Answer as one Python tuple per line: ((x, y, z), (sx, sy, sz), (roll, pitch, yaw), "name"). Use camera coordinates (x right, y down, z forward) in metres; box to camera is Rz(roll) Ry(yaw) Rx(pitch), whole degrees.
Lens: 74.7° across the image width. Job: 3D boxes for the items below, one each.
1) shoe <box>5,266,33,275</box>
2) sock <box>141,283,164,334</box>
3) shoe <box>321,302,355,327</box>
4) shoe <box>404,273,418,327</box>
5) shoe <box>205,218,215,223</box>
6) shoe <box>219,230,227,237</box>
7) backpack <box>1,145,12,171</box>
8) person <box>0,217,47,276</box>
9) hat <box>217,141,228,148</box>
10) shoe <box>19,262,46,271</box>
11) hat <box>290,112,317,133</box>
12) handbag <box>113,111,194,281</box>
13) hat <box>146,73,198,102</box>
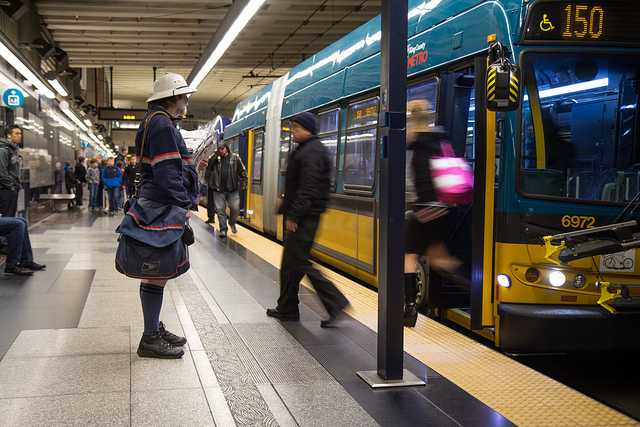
((-5.439, 1.023, 7.596), (0.508, 0.197, 0.170), (2, -1, -13), "shoe")
((-1.713, 0.964, 4.263), (0.195, 0.530, 0.136), (-1, 5, -22), "sock")
((0.245, 1.248, 5.551), (0.345, 0.321, 0.731), (2, 5, 10), "shoe")
((1.128, 1.080, 5.204), (0.148, 0.673, 0.277), (2, 5, 13), "shoe")
((-4.099, 0.275, 15.612), (0.281, 0.203, 0.467), (0, 5, -10), "shoe")
((-2.866, 0.606, 12.372), (0.202, 0.203, 0.134), (13, -9, -32), "shoe")
((-6.166, -1.101, 8.260), (0.127, 0.475, 0.298), (0, 5, -19), "backpack")
((-5.505, 0.588, 7.694), (0.485, 1.053, 0.532), (0, 5, -17), "person")
((-2.899, -2.053, 12.458), (0.218, 0.128, 0.281), (4, -2, 43), "hat")
((-5.450, 1.010, 7.963), (0.350, 0.142, 0.127), (3, 3, -20), "shoe")
((-0.210, -1.131, 5.306), (0.270, 0.207, 0.268), (13, 4, 1), "hat")
((-1.656, -0.171, 4.192), (0.718, 1.729, 0.461), (-1, 5, -25), "handbag")
((-1.597, -1.354, 4.456), (0.602, 0.267, 0.521), (-19, 18, -29), "hat")
